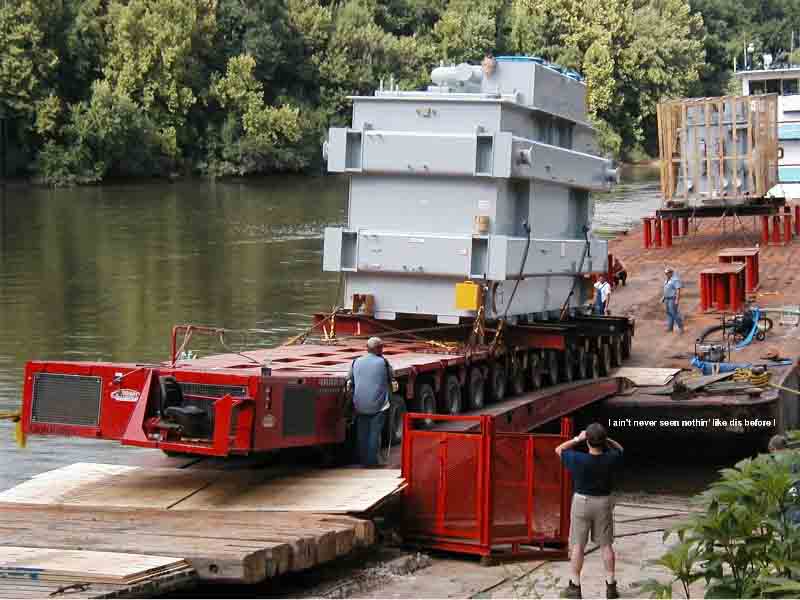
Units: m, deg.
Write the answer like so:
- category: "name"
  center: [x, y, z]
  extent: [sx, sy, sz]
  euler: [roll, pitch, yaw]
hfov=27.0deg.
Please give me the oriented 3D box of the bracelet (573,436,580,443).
- category: "bracelet"
  center: [3.281, 2.624, 31.238]
  extent: [0.083, 0.087, 0.090]
  euler: [-2, 8, 19]

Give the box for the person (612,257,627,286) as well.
- category: "person"
  center: [6.678, -0.815, 50.938]
  extent: [0.402, 0.843, 1.679]
  euler: [-1, 1, 8]

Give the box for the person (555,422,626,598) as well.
- category: "person"
  center: [3.513, 3.926, 30.961]
  extent: [1.125, 3.185, 0.844]
  euler: [-1, 1, 5]

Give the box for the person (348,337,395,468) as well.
- category: "person"
  center: [-0.589, 2.050, 33.181]
  extent: [0.932, 2.580, 0.402]
  euler: [-1, 1, -4]

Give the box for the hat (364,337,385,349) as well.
- category: "hat"
  center: [-0.544, 0.888, 33.271]
  extent: [0.252, 0.272, 0.293]
  euler: [16, 23, 32]
